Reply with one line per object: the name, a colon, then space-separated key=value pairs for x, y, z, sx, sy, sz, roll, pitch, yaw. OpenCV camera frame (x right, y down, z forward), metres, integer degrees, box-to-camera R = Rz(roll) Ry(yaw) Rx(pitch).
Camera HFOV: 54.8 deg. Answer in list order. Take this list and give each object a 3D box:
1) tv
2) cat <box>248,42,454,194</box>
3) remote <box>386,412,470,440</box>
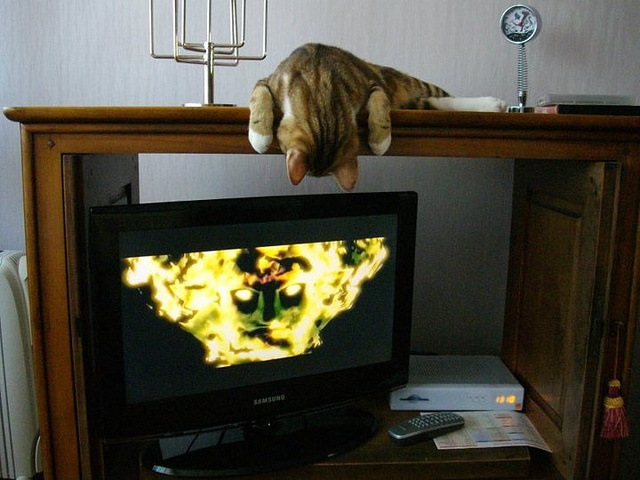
tv: x=-0.211 y=0.258 z=1.661 sx=0.651 sy=0.554 sz=0.243 roll=-3 pitch=11 yaw=-16
cat: x=0.009 y=-0.316 z=1.566 sx=0.388 sy=0.375 sz=0.255 roll=-5 pitch=10 yaw=-7
remote: x=0.301 y=0.520 z=1.758 sx=0.166 sy=0.042 sz=0.084 roll=-10 pitch=13 yaw=-22
